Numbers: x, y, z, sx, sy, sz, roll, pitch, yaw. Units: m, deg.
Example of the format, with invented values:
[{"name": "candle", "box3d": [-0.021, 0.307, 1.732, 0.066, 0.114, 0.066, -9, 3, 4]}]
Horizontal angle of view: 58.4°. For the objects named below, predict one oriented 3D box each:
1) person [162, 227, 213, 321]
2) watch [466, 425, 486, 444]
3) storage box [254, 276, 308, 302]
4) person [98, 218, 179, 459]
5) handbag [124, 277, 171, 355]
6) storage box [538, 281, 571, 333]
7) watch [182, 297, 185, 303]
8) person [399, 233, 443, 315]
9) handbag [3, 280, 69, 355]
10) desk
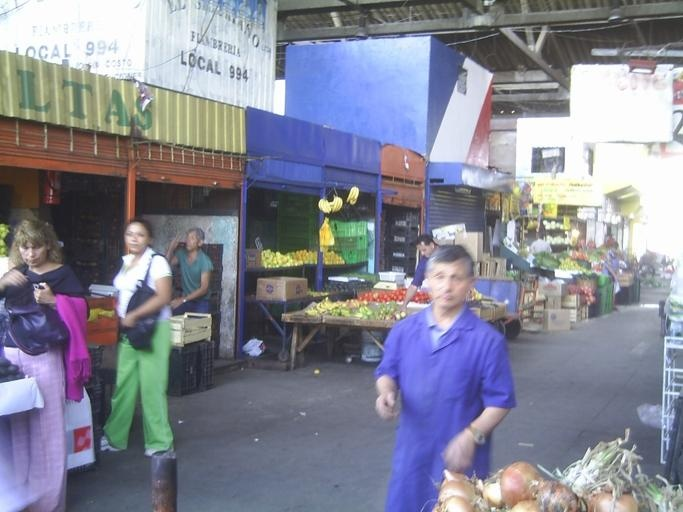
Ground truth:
[{"name": "person", "box3d": [-2.271, 0.243, 9.205, 0.542, 1.534, 0.561, 3, 8, -15]}, {"name": "watch", "box3d": [0.790, 1.051, 3.566, 0.087, 0.025, 0.090, 43, 15, -31]}, {"name": "storage box", "box3d": [-1.024, 0.575, 10.732, 0.513, 0.375, 1.050, 4, 4, 41]}, {"name": "person", "box3d": [-2.007, 0.837, 6.314, 0.859, 2.746, 0.906, 7, 9, 2]}, {"name": "handbag", "box3d": [-1.874, 0.628, 6.012, 0.445, 1.027, 0.720, 6, -10, -32]}, {"name": "storage box", "box3d": [5.635, 1.270, 16.285, 0.800, 1.175, 1.700, 2, 3, 18]}, {"name": "watch", "box3d": [-2.333, 0.647, 9.034, 0.047, 0.108, 0.070, 1, -1, -14]}, {"name": "person", "box3d": [1.111, 0.237, 9.027, 0.344, 1.412, 1.281, 8, 5, 5]}, {"name": "handbag", "box3d": [-2.539, 0.550, 5.012, 0.406, 0.618, 0.197, -3, -10, -19]}, {"name": "desk", "box3d": [0.024, 1.377, 10.550, 1.526, 1.034, 1.474, 3, 7, 21]}]
